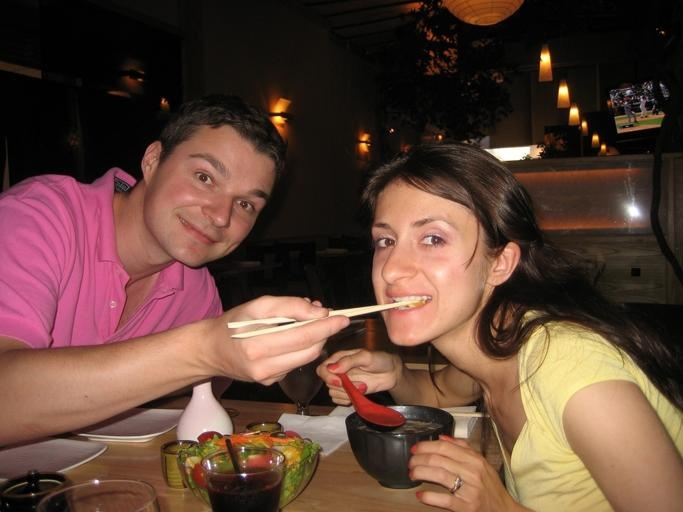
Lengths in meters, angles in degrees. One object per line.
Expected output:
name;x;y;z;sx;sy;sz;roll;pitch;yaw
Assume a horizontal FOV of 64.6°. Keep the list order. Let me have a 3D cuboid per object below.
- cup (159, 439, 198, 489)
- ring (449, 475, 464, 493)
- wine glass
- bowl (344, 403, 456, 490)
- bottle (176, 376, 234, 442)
cup;-0.479;0.593;1.536;0.134;0.116;0.161;-7;3;-22
ring;0.309;0.616;1.448;0.018;0.042;0.037;28;-9;-21
wine glass;-0.127;0.464;2.025;0.171;0.248;0.212;4;4;8
bowl;0.140;0.543;1.662;0.324;0.195;0.232;-1;6;-33
bottle;-0.428;0.503;1.763;0.164;0.183;0.154;7;6;41
